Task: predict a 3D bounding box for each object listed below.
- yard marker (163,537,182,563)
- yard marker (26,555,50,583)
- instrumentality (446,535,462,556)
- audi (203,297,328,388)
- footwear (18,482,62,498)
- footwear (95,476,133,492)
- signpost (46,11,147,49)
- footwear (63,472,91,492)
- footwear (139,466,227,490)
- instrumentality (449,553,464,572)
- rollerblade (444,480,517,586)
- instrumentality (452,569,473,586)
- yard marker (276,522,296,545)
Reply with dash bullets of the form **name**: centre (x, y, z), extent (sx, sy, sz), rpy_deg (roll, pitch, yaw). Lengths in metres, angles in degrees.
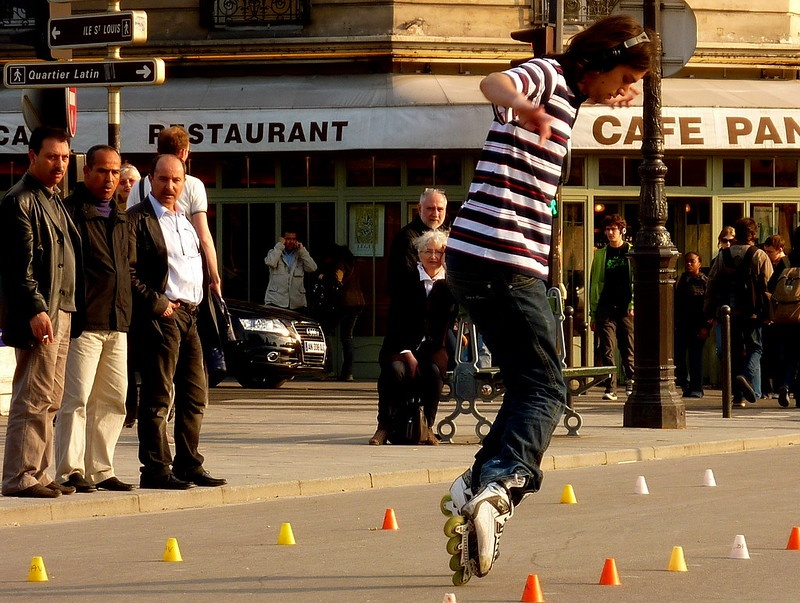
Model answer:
- **yard marker**: centre (-1.640, 1.770, 12.644), extent (0.148, 0.155, 0.145), rpy_deg (0, -6, 0)
- **yard marker**: centre (-2.510, 1.836, 12.193), extent (0.147, 0.171, 0.153), rpy_deg (0, 0, 28)
- **instrumentality**: centre (0.343, 1.590, 11.636), extent (0.083, 0.135, 0.112), rpy_deg (0, 0, -33)
- **audi**: centre (-1.720, 0.623, 23.014), extent (1.106, 1.221, 1.168), rpy_deg (4, 11, 25)
- **footwear**: centre (-2.865, 1.498, 14.034), extent (0.348, 0.153, 0.124), rpy_deg (-4, 2, -3)
- **footwear**: centre (-2.365, 1.501, 14.589), extent (0.325, 0.145, 0.120), rpy_deg (0, 1, -6)
- **signpost**: centre (-3.180, -2.797, 18.309), extent (1.097, 0.342, 0.250), rpy_deg (0, 0, 21)
- **footwear**: centre (-2.629, 1.474, 14.405), extent (0.300, 0.134, 0.108), rpy_deg (1, -1, 8)
- **footwear**: centre (-1.816, 1.469, 14.730), extent (0.722, 0.141, 0.313), rpy_deg (0, 0, -12)
- **instrumentality**: centre (0.368, 1.717, 11.690), extent (0.044, 0.123, 0.088), rpy_deg (-6, -8, 29)
- **rollerblade**: centre (0.510, 1.510, 11.733), extent (0.371, 0.557, 1.144), rpy_deg (0, -1, 4)
- **instrumentality**: centre (0.406, 1.831, 11.762), extent (0.121, 0.127, 0.041), rpy_deg (6, 15, -36)
- **yard marker**: centre (-0.849, 1.723, 13.184), extent (0.131, 0.143, 0.140), rpy_deg (-2, -2, -30)
